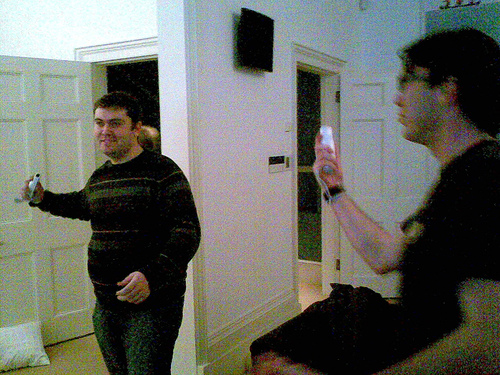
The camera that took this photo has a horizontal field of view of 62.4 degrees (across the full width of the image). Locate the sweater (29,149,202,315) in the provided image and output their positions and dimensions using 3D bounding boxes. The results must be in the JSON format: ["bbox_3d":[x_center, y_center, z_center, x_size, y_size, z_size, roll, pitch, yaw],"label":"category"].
[{"bbox_3d":[-0.421,0.158,1.559,0.320,0.591,0.441,-8,11,-35],"label":"sweater"}]

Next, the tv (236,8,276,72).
[{"bbox_3d":[0.001,-0.756,2.134,0.070,0.237,0.256,8,6,40],"label":"tv"}]

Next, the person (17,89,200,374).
[{"bbox_3d":[-0.419,0.174,1.561,0.359,1.065,0.430,-7,10,-28],"label":"person"}]
